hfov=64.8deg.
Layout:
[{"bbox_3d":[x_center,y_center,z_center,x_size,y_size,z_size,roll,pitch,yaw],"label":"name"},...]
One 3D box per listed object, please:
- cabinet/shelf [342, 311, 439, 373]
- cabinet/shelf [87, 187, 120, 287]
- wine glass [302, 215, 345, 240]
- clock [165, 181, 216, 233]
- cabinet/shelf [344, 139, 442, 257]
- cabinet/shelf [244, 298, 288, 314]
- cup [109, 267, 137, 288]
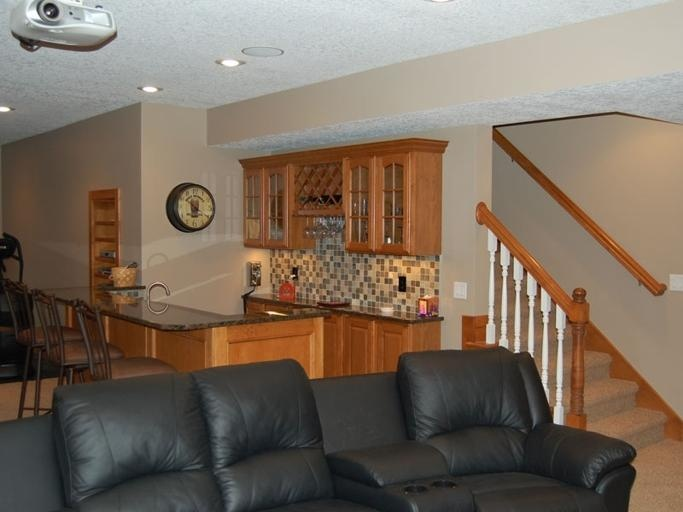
[{"bbox_3d":[0.475,0.789,5.008,0.301,0.599,0.700,4,-5,-40],"label":"cabinet/shelf"},{"bbox_3d":[-2.927,-0.235,6.643,0.230,0.859,0.844,1,-1,-36],"label":"cabinet/shelf"},{"bbox_3d":[-0.211,-0.310,5.932,0.430,0.356,0.270,-3,-5,35],"label":"wine glass"},{"bbox_3d":[-1.768,-0.554,6.310,0.174,0.562,0.544,0,-1,43],"label":"clock"},{"bbox_3d":[0.495,-0.561,5.495,0.499,1.066,1.172,-6,9,-38],"label":"cabinet/shelf"},{"bbox_3d":[-0.935,0.603,6.586,0.262,0.203,0.748,1,-2,-33],"label":"cabinet/shelf"},{"bbox_3d":[-2.468,0.233,6.100,0.282,0.177,0.214,-1,-1,3],"label":"cup"}]
